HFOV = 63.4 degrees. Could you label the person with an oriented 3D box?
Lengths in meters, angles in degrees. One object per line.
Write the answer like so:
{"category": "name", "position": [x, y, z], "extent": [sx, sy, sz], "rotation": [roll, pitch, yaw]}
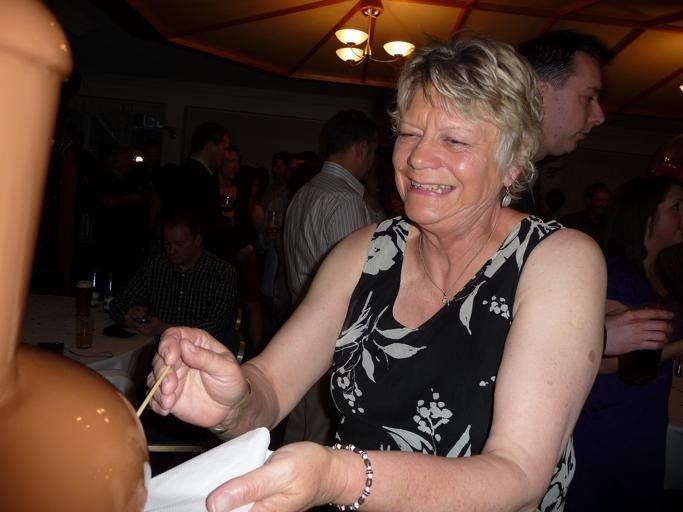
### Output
{"category": "person", "position": [-0.010, 0.046, 1.440], "extent": [0.953, 1.095, 0.727], "rotation": [5, 0, -22]}

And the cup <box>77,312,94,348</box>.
{"category": "cup", "position": [-1.202, 0.352, 2.590], "extent": [0.088, 0.153, 0.091], "rotation": [5, 3, 0]}
